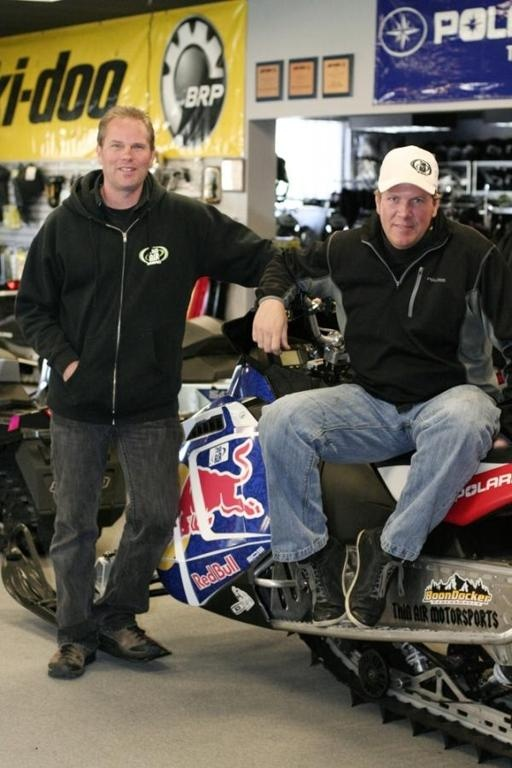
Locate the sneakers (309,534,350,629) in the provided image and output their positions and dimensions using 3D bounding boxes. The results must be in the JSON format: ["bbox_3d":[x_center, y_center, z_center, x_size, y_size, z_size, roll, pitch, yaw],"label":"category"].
[{"bbox_3d":[0.179,0.490,1.697,0.086,0.206,0.068,1,-4,4],"label":"sneakers"}]

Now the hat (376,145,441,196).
[{"bbox_3d":[0.391,-0.536,1.747,0.121,0.089,0.168,5,9,13],"label":"hat"}]

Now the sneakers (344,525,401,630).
[{"bbox_3d":[0.268,0.466,1.592,0.092,0.270,0.124,20,-33,-21],"label":"sneakers"}]

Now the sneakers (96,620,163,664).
[{"bbox_3d":[-0.418,0.859,2.317,0.248,0.112,0.096,4,2,27],"label":"sneakers"}]
